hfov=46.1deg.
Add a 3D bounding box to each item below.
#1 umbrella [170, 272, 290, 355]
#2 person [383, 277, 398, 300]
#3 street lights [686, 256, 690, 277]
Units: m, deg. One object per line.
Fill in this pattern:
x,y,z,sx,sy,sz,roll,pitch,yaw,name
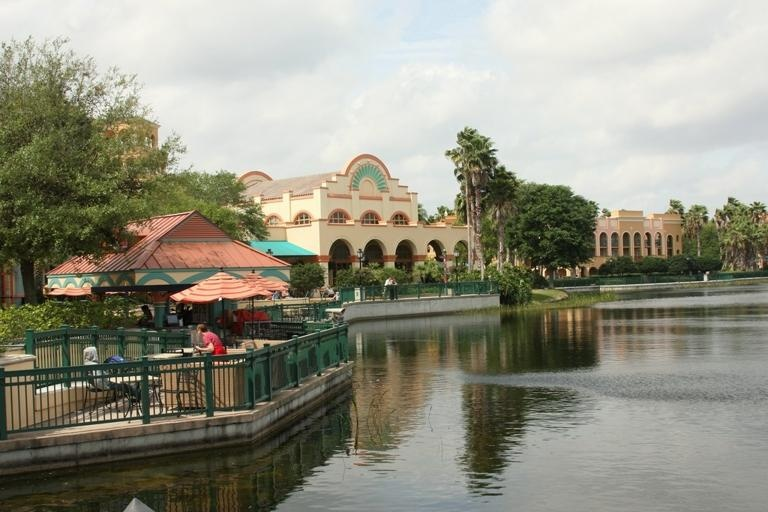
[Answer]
-5.233,1.964,31.922,2.981,1.929,2.935,-4,-5,40,umbrella
0.475,2.309,60.702,0.856,1.148,1.455,-1,7,7,person
44.378,1.368,131.806,0.582,2.302,0.922,0,8,13,street lights
